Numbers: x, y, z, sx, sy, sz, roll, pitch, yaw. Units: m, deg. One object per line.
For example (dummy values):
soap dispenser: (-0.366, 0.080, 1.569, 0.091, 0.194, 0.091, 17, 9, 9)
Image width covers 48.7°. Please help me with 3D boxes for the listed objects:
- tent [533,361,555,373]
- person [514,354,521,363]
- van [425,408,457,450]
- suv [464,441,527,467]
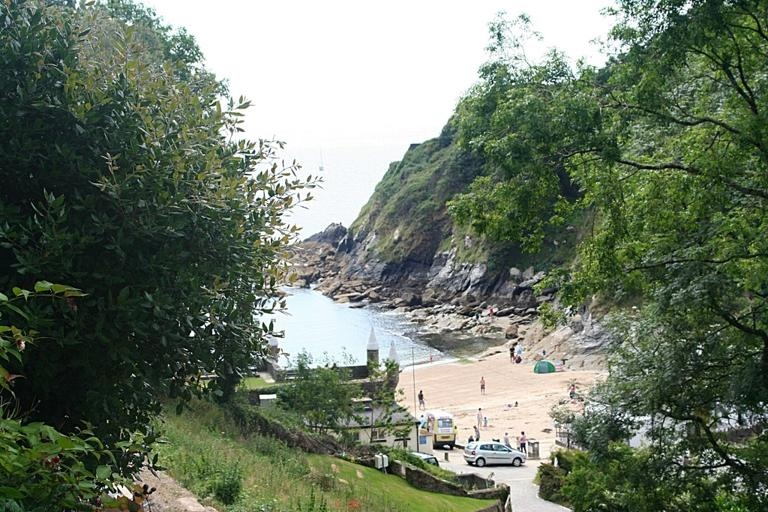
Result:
tent: (12.175, 8.518, 64.136, 1.051, 0.737, 1.109, -3, -1, 29)
person: (11.241, 8.734, 70.853, 0.418, 0.627, 0.919, 9, 14, 14)
van: (3.253, 10.108, 49.750, 1.397, 1.488, 2.265, -1, 3, -10)
suv: (5.807, 10.619, 45.298, 2.493, 1.122, 1.417, -2, 2, -10)
